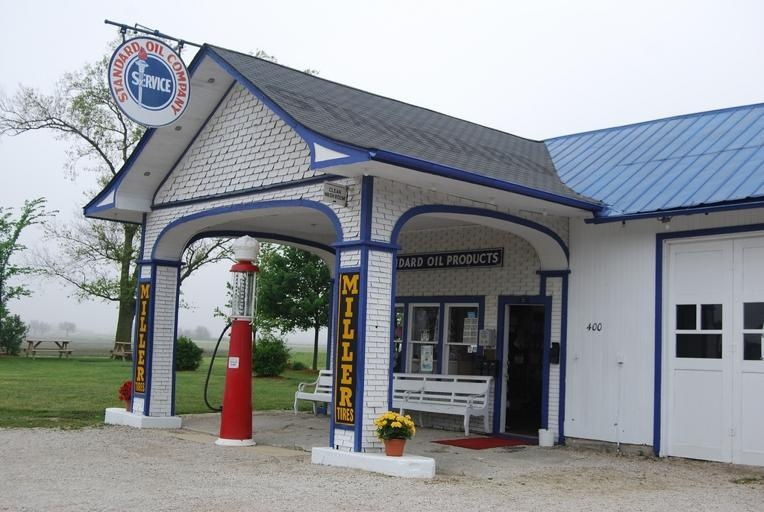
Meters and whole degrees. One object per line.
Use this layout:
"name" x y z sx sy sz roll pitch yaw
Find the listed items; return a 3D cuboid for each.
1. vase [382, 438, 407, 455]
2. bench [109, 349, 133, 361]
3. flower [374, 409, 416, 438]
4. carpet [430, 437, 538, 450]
"vase" 0.170 2.793 10.503 0.268 0.184 0.266 2 -14 -6
"bench" -11.162 4.257 30.635 0.694 0.469 1.624 10 -13 -34
"flower" 0.175 2.426 10.435 0.462 0.307 0.450 2 -4 -14
"carpet" 1.902 3.441 13.184 1.850 0.182 1.190 7 -12 -18
